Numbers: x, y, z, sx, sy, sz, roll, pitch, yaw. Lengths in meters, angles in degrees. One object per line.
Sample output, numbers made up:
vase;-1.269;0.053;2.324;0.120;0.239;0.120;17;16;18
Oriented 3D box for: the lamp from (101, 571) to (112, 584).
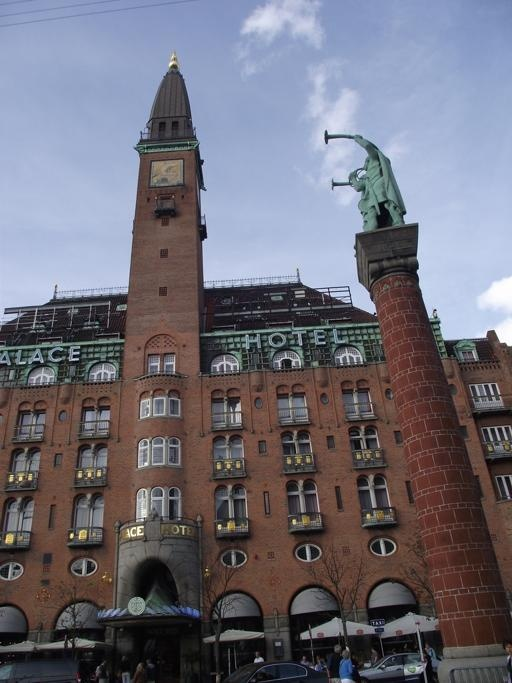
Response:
lamp;-10.041;15.945;35.853;0.771;0.711;0.370;0;-37;-2
